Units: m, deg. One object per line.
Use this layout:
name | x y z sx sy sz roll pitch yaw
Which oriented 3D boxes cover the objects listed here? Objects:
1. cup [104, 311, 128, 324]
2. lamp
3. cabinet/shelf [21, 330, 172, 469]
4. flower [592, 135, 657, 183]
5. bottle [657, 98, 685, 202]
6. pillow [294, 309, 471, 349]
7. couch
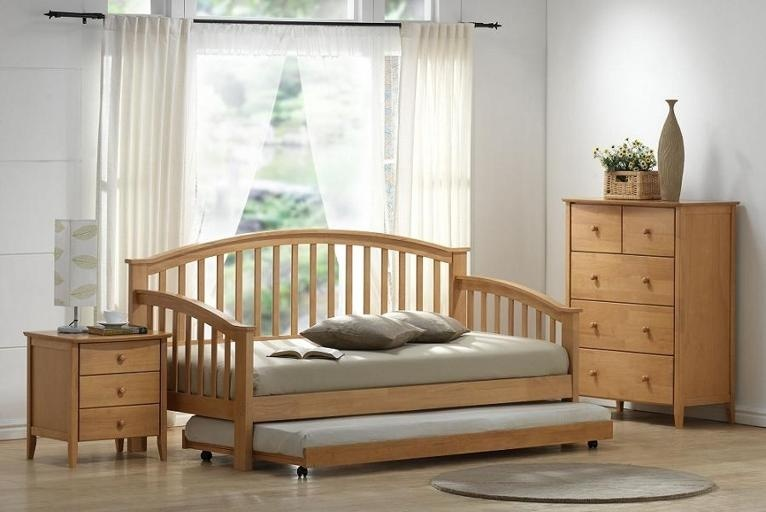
cup | -1.366 0.315 4.024 0.114 0.050 0.084 3 -7 -27
lamp | -1.583 0.095 4.037 0.216 0.576 0.223 0 1 4
cabinet/shelf | -1.369 0.709 4.200 0.792 0.713 0.700 2 -4 -39
flower | 1.522 -0.624 5.023 0.342 0.158 0.325 2 -1 -37
bottle | 1.734 -0.647 4.740 0.145 0.635 0.185 0 1 18
pillow | 0.018 0.408 4.318 0.894 0.182 0.344 0 0 -38
couch | -0.245 0.601 4.400 2.175 0.941 1.500 0 -1 -33
